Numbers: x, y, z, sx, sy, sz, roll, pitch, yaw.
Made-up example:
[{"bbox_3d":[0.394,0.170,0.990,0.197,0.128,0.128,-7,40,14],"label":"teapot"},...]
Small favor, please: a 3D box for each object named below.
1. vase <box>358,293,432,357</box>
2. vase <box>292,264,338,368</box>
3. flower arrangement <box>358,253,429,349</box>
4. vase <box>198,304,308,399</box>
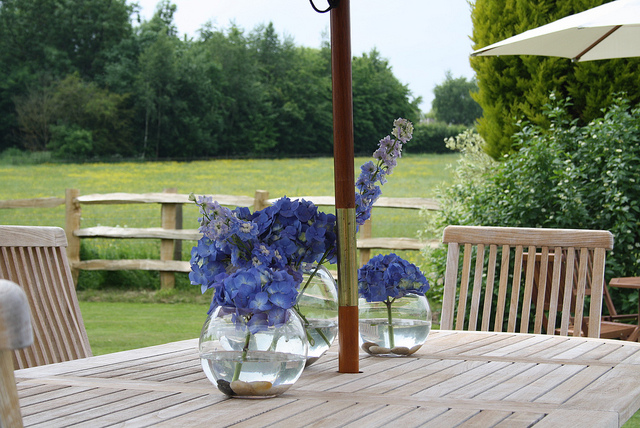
[{"bbox_3d":[0.608,0.889,8.445,0.462,0.543,0.512,0,-5,4],"label":"vase"},{"bbox_3d":[0.078,0.777,8.370,0.569,0.799,0.607,4,1,-3],"label":"vase"},{"bbox_3d":[0.563,0.738,8.387,0.500,0.705,0.556,-5,5,5],"label":"flower arrangement"},{"bbox_3d":[-0.503,1.010,7.889,0.669,0.572,0.666,-2,-3,29],"label":"vase"}]
